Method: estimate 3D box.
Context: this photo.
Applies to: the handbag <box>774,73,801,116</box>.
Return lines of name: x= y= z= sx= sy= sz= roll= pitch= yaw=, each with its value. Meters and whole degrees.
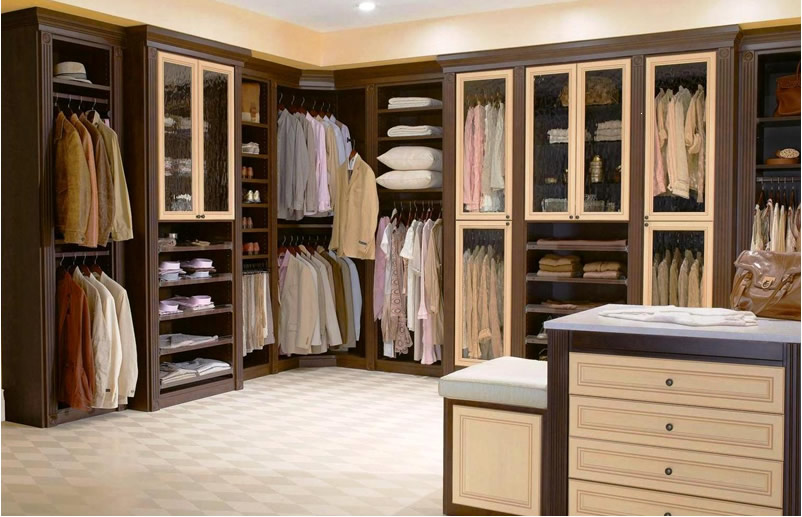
handbag: x=3.454 y=-1.472 z=5.626 sx=0.185 sy=0.389 sz=0.183 roll=3 pitch=6 yaw=28

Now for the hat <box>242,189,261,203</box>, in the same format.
hat: x=-1.588 y=-0.674 z=6.752 sx=0.130 sy=0.075 sz=0.182 roll=-3 pitch=0 yaw=-36

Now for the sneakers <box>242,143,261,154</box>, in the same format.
sneakers: x=-1.586 y=-1.173 z=6.696 sx=0.160 sy=0.066 sz=0.155 roll=5 pitch=3 yaw=37

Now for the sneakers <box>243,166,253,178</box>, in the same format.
sneakers: x=-1.648 y=-0.941 z=6.779 sx=0.098 sy=0.055 sz=0.135 roll=0 pitch=-2 yaw=-19

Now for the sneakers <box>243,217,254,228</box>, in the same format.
sneakers: x=-1.660 y=-0.386 z=6.833 sx=0.064 sy=0.069 sz=0.167 roll=-1 pitch=-8 yaw=-11

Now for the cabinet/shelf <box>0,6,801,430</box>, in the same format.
cabinet/shelf: x=-0.040 y=-0.445 z=5.616 sx=4.050 sy=2.263 sz=2.916 roll=-1 pitch=-1 yaw=23

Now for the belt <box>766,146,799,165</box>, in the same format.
belt: x=3.442 y=-0.910 z=5.691 sx=0.212 sy=0.125 sz=0.207 roll=-1 pitch=1 yaw=-34

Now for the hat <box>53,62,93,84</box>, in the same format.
hat: x=-2.813 y=-1.606 z=5.404 sx=0.272 sy=0.105 sz=0.204 roll=11 pitch=12 yaw=33
